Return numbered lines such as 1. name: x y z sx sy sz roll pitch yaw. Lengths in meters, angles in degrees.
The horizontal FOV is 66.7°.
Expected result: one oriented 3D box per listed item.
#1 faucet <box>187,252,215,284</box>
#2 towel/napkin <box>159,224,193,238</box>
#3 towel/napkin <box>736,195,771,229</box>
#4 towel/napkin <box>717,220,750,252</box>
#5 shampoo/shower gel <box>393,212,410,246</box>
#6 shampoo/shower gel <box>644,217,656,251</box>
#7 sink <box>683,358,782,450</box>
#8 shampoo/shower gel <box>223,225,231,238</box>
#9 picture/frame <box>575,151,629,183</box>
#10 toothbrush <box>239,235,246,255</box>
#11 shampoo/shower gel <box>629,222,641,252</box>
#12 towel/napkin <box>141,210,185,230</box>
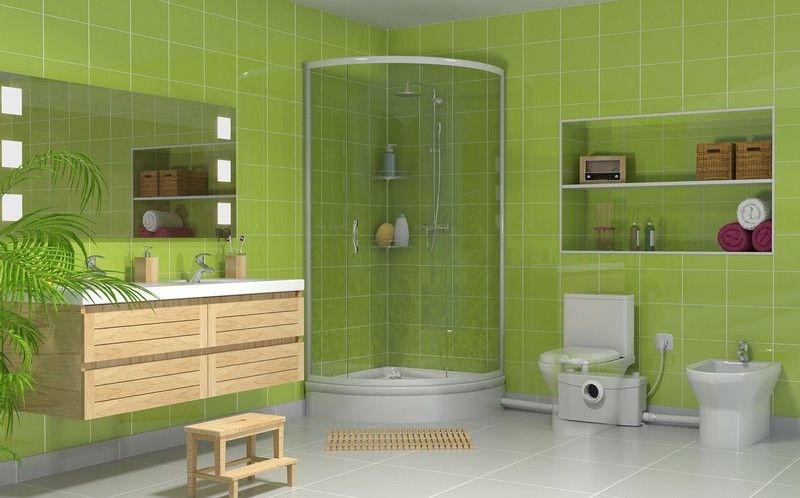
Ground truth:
1. faucet: -1.591 0.153 4.892 0.170 0.220 0.430 -1 2 -17
2. towel/napkin: -1.773 -0.133 4.850 0.095 0.062 0.177 2 1 39
3. towel/napkin: 3.049 -0.319 5.276 0.285 0.256 0.309 4 10 30
4. towel/napkin: 2.915 -0.113 5.314 0.242 0.228 0.263 4 0 33
5. shampoo/shower gel: 0.019 -0.165 5.540 0.142 0.304 0.035 0 2 -2
6. shampoo/shower gel: 2.306 -0.125 5.617 0.101 0.265 0.054 0 2 17
7. sink: 2.696 1.272 5.064 0.661 0.594 0.789 -3 -4 39
8. shampoo/shower gel: -1.458 -0.143 5.183 0.096 0.096 0.092 -2 5 -32
9. picture/frame: 1.901 -0.753 5.754 0.508 0.288 0.262 0 -4 20
10. toothbrush: -1.367 -0.043 5.319 0.033 0.157 0.093 0 2 12
11. shampoo/shower gel: 2.182 -0.114 5.651 0.088 0.245 0.059 0 2 17
12. towel/napkin: -1.854 -0.221 4.750 0.140 0.173 0.560 3 5 10
